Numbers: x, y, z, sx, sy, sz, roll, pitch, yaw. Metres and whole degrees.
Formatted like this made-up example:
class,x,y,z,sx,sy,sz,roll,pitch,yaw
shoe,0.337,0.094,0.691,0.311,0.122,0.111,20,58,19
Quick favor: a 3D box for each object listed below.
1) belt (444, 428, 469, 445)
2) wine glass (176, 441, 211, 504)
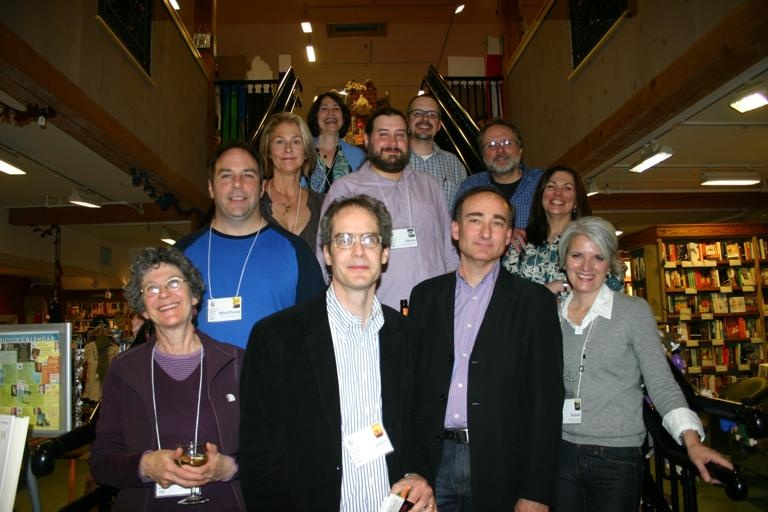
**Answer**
class,x,y,z,sx,sy,sz,roll,pitch,yaw
belt,0.488,1.212,3.514,0.135,0.066,0.101,-5,12,19
wine glass,-1.203,1.386,3.303,0.181,0.410,0.203,2,-8,-20
